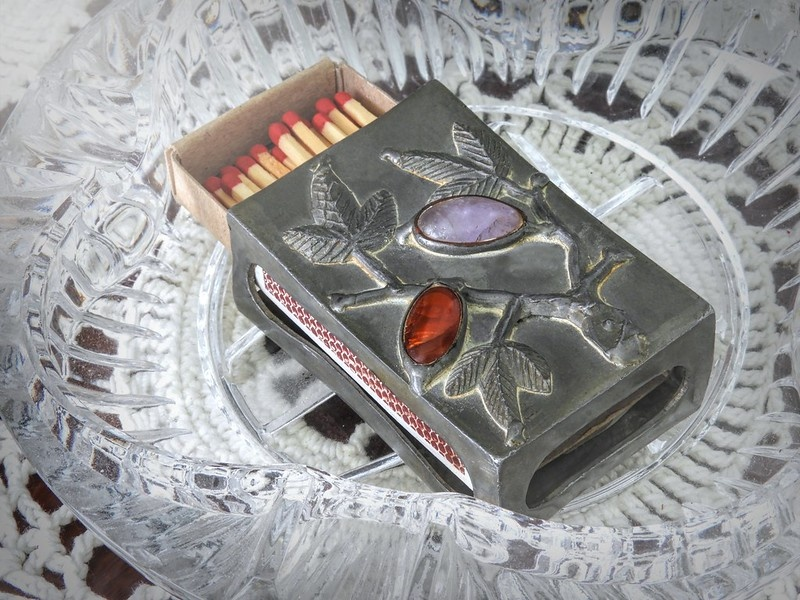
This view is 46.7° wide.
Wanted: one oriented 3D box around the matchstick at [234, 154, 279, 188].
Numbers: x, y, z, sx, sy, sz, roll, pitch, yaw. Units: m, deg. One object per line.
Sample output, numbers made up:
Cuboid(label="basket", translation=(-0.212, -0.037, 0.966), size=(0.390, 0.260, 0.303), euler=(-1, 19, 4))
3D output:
Cuboid(label="matchstick", translation=(-0.217, -0.195, 1.409), size=(0.020, 0.021, 0.078), euler=(-27, 59, -31))

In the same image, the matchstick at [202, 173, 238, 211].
Cuboid(label="matchstick", translation=(-0.274, -0.165, 1.404), size=(0.040, 0.018, 0.070), euler=(-38, 72, -22))

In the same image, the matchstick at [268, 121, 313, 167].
Cuboid(label="matchstick", translation=(-0.168, -0.240, 1.428), size=(0.026, 0.027, 0.093), euler=(-33, 69, -14))

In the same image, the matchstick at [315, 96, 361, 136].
Cuboid(label="matchstick", translation=(-0.097, -0.287, 1.453), size=(0.102, 0.025, 0.027), euler=(46, 51, 14))

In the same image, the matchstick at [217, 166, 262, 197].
Cuboid(label="matchstick", translation=(-0.245, -0.178, 1.399), size=(0.041, 0.020, 0.076), euler=(-32, 64, -21))

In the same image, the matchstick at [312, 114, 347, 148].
Cuboid(label="matchstick", translation=(-0.108, -0.260, 1.428), size=(0.015, 0.053, 0.056), euler=(-33, 60, 29))

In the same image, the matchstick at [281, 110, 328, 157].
Cuboid(label="matchstick", translation=(-0.149, -0.256, 1.436), size=(0.027, 0.030, 0.106), euler=(-34, 65, -21))
